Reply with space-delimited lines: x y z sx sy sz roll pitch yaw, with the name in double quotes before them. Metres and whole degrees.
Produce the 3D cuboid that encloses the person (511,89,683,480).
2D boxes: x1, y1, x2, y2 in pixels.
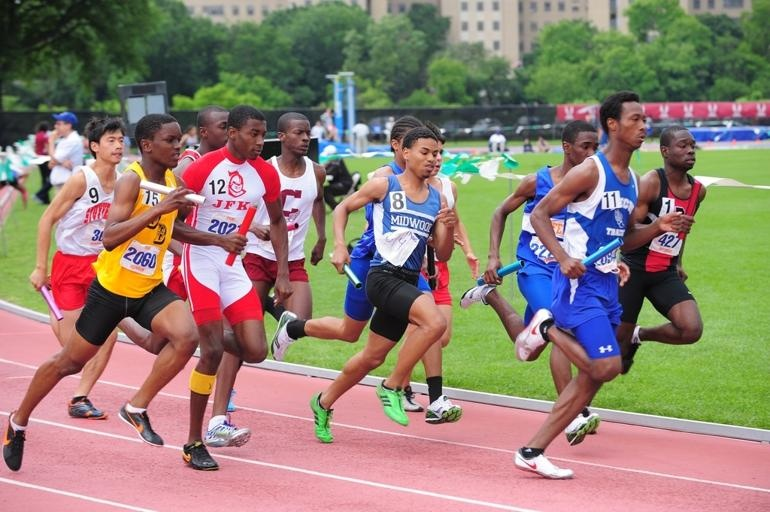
"person" 1.634 0.221 6.709 1.446 3.002 0.795 -11 17 -37
